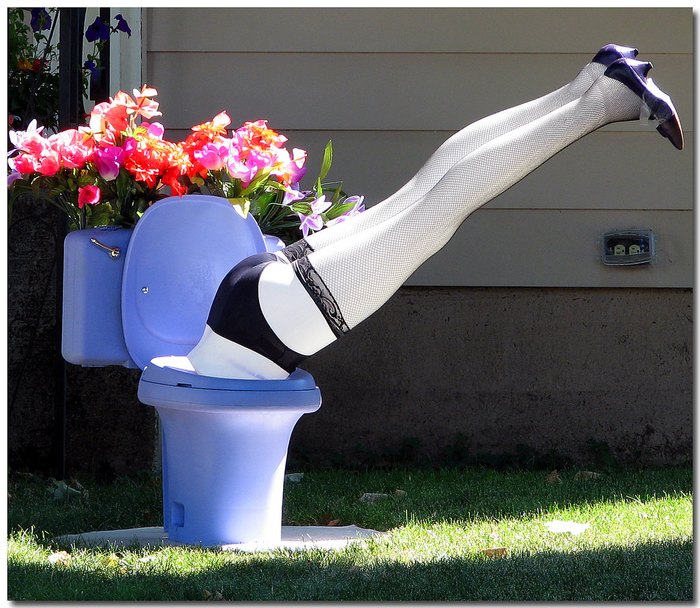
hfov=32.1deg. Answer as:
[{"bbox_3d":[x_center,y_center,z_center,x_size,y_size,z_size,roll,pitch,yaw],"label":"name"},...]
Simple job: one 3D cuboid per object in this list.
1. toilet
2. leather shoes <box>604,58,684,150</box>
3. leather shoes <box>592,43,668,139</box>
[{"bbox_3d":[-0.465,0.193,3.857,0.746,1.027,0.814,-1,5,-32],"label":"toilet"},{"bbox_3d":[0.870,-0.671,3.691,0.111,0.141,0.336,33,19,-3],"label":"leather shoes"},{"bbox_3d":[0.871,-0.627,3.595,0.106,0.273,0.183,-34,26,-1],"label":"leather shoes"}]
